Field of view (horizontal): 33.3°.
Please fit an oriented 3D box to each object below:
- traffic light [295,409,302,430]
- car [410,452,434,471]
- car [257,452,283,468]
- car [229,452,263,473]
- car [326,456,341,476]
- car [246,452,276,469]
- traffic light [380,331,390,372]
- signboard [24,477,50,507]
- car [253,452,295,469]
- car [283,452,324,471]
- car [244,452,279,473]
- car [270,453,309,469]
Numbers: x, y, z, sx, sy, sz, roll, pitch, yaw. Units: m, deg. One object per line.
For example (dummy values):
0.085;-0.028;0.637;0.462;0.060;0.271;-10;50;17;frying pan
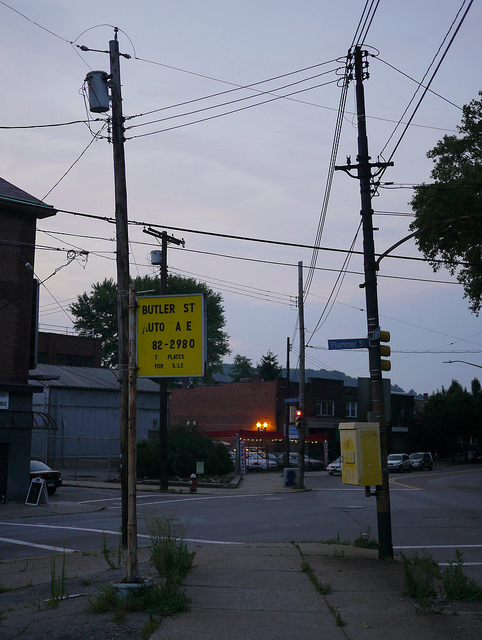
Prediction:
2.380;4.071;33.098;0.285;0.819;0.492;-1;-9;2;traffic light
12.477;9.866;56.484;1.032;1.178;2.212;-7;-13;30;car
2.113;9.741;56.343;1.690;0.632;0.762;-1;-6;10;car
0.236;9.274;51.776;2.940;1.096;1.302;1;-4;-15;car
5.645;8.933;48.686;0.713;0.773;2.265;-1;-9;5;car
1.334;9.315;53.413;2.129;0.796;0.993;8;-6;13;car
2.492;0.538;13.952;0.158;0.699;0.593;-2;-9;10;traffic light
-6.540;5.524;25.798;0.705;1.032;0.589;-8;-20;27;signboard
2.407;10.034;56.301;3.488;1.300;1.571;-1;-5;-2;car
4.893;10.303;58.750;2.390;0.974;1.169;1;-3;-1;car
1.165;9.338;52.826;2.847;0.996;1.280;-12;-14;43;car
3.623;10.102;57.760;2.376;0.893;1.155;3;-7;3;car
